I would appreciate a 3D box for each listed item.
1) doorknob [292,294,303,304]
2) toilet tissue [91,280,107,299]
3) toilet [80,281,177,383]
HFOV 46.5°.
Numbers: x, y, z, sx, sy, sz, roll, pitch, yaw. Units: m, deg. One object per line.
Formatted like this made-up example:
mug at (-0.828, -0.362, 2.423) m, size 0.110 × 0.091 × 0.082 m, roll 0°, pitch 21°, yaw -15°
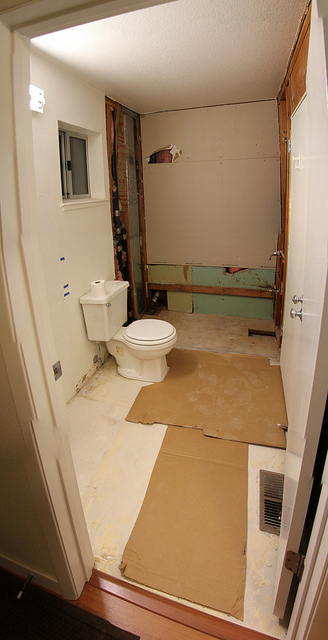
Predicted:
doorknob at (0.582, -0.088, 1.678) m, size 0.051 × 0.052 × 0.042 m, roll 3°, pitch -5°, yaw 9°
toilet tissue at (-0.446, -0.224, 2.660) m, size 0.094 × 0.134 × 0.112 m, roll 1°, pitch 32°, yaw 6°
toilet at (-0.227, 0.097, 2.863) m, size 0.555 × 0.706 × 0.412 m, roll 7°, pitch 27°, yaw 20°
